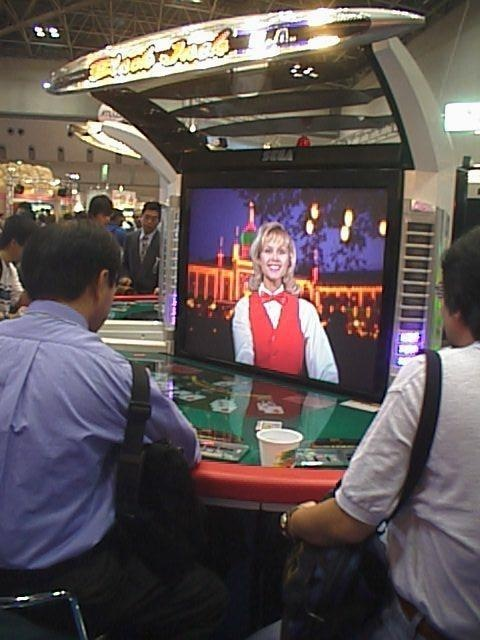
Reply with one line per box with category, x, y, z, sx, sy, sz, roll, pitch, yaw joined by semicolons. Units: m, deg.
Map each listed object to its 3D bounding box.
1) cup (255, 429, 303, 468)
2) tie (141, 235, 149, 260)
cup;0.102;0.360;1.368;0.089;0.060;0.092;1;-1;0
tie;-0.987;-0.746;4.969;0.150;0.218;0.052;3;0;42
